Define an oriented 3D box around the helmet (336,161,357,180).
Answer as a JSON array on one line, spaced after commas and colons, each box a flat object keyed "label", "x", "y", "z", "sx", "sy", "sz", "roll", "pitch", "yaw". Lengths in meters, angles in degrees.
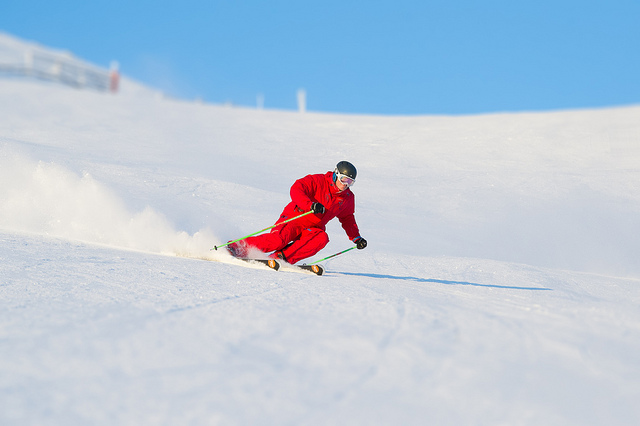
[{"label": "helmet", "x": 0.465, "y": -0.785, "z": 16.000, "sx": 0.271, "sy": 0.255, "sz": 0.325, "roll": 27, "pitch": 31, "yaw": -37}]
